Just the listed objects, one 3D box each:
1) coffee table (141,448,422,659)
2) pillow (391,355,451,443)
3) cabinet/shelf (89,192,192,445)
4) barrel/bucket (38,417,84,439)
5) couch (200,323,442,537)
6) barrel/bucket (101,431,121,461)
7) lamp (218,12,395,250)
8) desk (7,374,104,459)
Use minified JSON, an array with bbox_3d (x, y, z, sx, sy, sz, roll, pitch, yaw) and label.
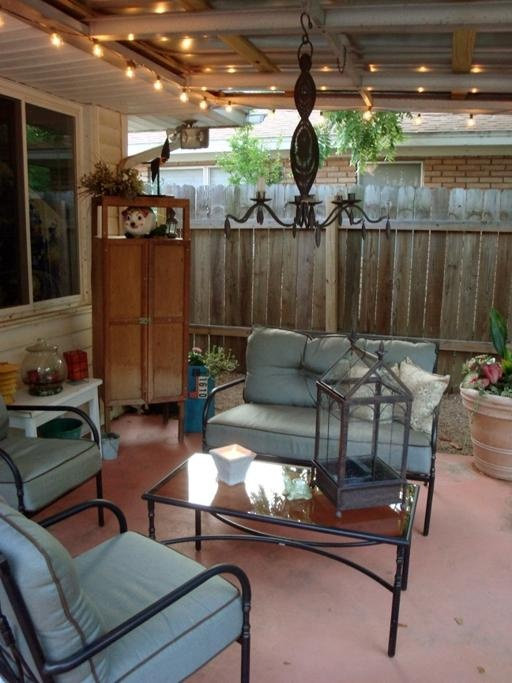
[{"bbox_3d":[0.203,0.688,2.365,1.318,0.597,0.643,6,16,21],"label":"coffee table"},{"bbox_3d":[0.968,0.319,3.147,0.263,0.372,0.428,2,9,2],"label":"pillow"},{"bbox_3d":[-0.885,-0.195,4.222,0.712,1.849,0.513,-1,9,-18],"label":"cabinet/shelf"},{"bbox_3d":[-1.274,0.558,3.521,0.179,0.121,0.180,0,15,0],"label":"barrel/bucket"},{"bbox_3d":[0.446,0.453,3.385,1.444,0.970,0.853,2,8,20],"label":"couch"},{"bbox_3d":[-1.074,0.761,3.923,0.189,0.226,0.164,0,0,-12],"label":"barrel/bucket"},{"bbox_3d":[0.228,-0.944,2.291,0.604,0.930,0.653,-7,15,-25],"label":"lamp"},{"bbox_3d":[-1.224,0.420,3.269,0.521,0.407,0.577,5,10,10],"label":"desk"}]
